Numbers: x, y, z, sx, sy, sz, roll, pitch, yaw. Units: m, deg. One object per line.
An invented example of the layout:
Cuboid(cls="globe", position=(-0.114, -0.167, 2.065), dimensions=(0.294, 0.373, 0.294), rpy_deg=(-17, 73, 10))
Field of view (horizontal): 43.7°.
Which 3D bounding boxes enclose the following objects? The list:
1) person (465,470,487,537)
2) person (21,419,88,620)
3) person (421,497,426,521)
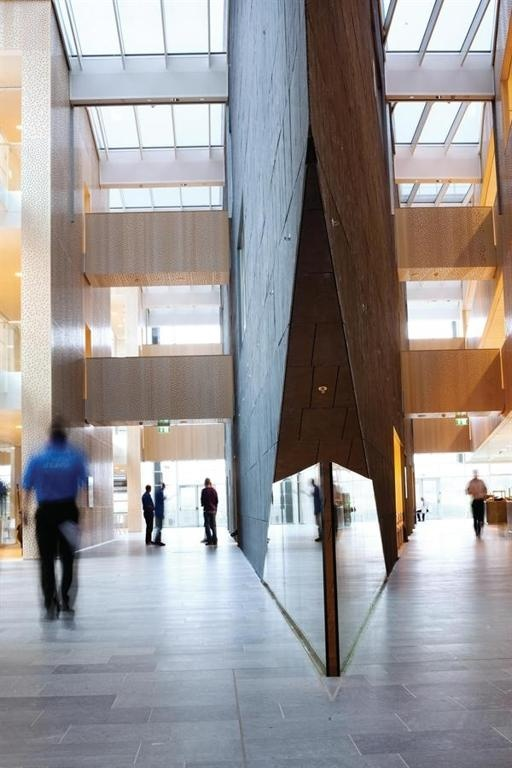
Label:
Cuboid(cls="person", position=(6.520, 3.560, 18.836), dimensions=(0.499, 1.886, 2.493), rpy_deg=(-2, -4, 19))
Cuboid(cls="person", position=(-1.836, 1.249, 5.891), dimensions=(0.564, 1.825, 0.694), rpy_deg=(1, -4, -22))
Cuboid(cls="person", position=(11.680, 8.678, 44.649), dimensions=(0.423, 1.576, 1.165), rpy_deg=(-2, -4, 16))
